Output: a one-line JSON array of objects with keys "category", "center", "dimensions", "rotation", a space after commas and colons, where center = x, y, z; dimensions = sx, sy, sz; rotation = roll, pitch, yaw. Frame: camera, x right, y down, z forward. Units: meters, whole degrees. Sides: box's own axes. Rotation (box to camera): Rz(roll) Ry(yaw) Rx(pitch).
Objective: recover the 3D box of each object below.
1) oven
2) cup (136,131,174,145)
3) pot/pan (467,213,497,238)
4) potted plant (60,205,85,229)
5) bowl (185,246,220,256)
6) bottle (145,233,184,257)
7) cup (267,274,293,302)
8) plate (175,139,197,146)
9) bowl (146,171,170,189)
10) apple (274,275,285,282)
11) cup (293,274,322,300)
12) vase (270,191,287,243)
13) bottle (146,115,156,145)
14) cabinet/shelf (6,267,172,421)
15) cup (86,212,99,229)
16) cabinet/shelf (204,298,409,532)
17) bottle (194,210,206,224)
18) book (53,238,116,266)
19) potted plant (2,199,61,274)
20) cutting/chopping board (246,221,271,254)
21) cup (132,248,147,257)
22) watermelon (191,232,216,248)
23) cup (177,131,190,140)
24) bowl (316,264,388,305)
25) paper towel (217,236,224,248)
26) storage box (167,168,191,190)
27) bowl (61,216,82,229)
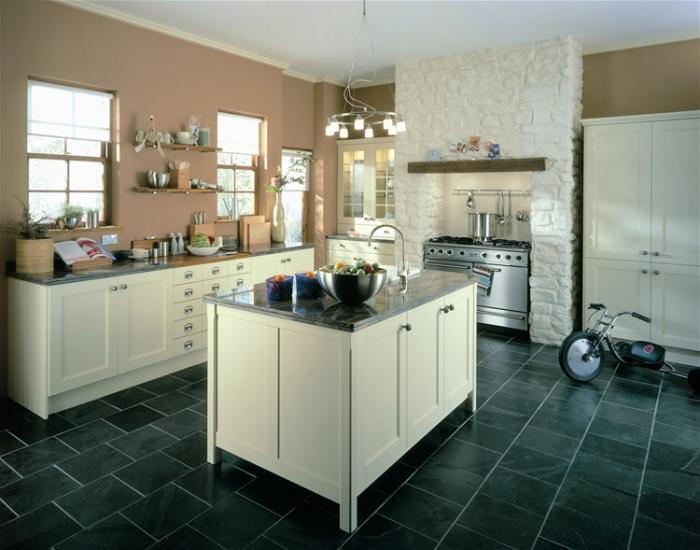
[{"category": "oven", "center": [1.822, 0.113, 6.482], "dimensions": [0.722, 1.125, 1.448], "rotation": [-11, 11, -40]}, {"category": "cup", "center": [-2.057, -1.422, 5.178], "dimensions": [0.274, 0.091, 0.156], "rotation": [-2, 4, -13]}, {"category": "pot/pan", "center": [1.710, -0.623, 6.337], "dimensions": [0.382, 0.308, 0.286], "rotation": [1, 5, 22]}, {"category": "potted plant", "center": [-2.597, -0.534, 4.608], "dimensions": [0.217, 0.223, 0.213], "rotation": [4, 3, 42]}, {"category": "bowl", "center": [-1.611, -0.263, 5.353], "dimensions": [0.335, 0.119, 0.301], "rotation": [-3, 14, -12]}, {"category": "bottle", "center": [-1.950, -0.325, 5.360], "dimensions": [0.286, 0.204, 0.478], "rotation": [10, 17, 34]}, {"category": "cup", "center": [-0.472, 0.086, 3.298], "dimensions": [0.177, 0.142, 0.170], "rotation": [0, 0, 0]}, {"category": "plate", "center": [-1.796, -1.440, 5.403], "dimensions": [0.212, 0.074, 0.151], "rotation": [-8, 16, -29]}, {"category": "bowl", "center": [-2.026, -0.997, 5.231], "dimensions": [0.220, 0.174, 0.170], "rotation": [-8, 16, -30]}, {"category": "apple", "center": [-0.464, 0.023, 3.254], "dimensions": [0.045, 0.028, 0.052], "rotation": [-2, 8, -18]}, {"category": "cup", "center": [-0.291, 0.080, 3.359], "dimensions": [0.192, 0.173, 0.143], "rotation": [0, 0, 33]}, {"category": "vase", "center": [-0.957, -0.756, 6.508], "dimensions": [0.162, 0.644, 0.341], "rotation": [-7, 16, -28]}, {"category": "bottle", "center": [-2.089, -1.524, 5.178], "dimensions": [0.089, 0.281, 0.188], "rotation": [-4, 15, -18]}, {"category": "cabinet/shelf", "center": [-2.316, 0.486, 4.878], "dimensions": [1.017, 1.597, 1.815], "rotation": [2, 4, 33]}, {"category": "cup", "center": [-2.508, -0.535, 4.871], "dimensions": [0.149, 0.159, 0.143], "rotation": [0, 0, 0]}, {"category": "cabinet/shelf", "center": [-0.162, 0.763, 3.624], "dimensions": [1.342, 1.174, 1.324], "rotation": [1, 2, 33]}, {"category": "bottle", "center": [-1.750, -0.670, 5.782], "dimensions": [0.050, 0.145, 0.186], "rotation": [7, 16, 27]}, {"category": "book", "center": [-2.467, -0.212, 4.562], "dimensions": [0.402, 0.202, 0.469], "rotation": [12, 18, 40]}, {"category": "potted plant", "center": [-2.768, -0.334, 4.255], "dimensions": [0.374, 0.576, 0.718], "rotation": [-8, 16, -29]}, {"category": "cutting/chopping board", "center": [-1.182, -0.469, 6.269], "dimensions": [0.148, 0.383, 0.455], "rotation": [0, 1, 27]}, {"category": "cup", "center": [-2.125, -0.225, 4.985], "dimensions": [0.096, 0.049, 0.114], "rotation": [2, -3, -37]}, {"category": "watermelon", "center": [-1.640, -0.380, 5.498], "dimensions": [0.193, 0.126, 0.234], "rotation": [0, 2, -4]}, {"category": "cup", "center": [-1.824, -1.511, 5.413], "dimensions": [0.119, 0.084, 0.107], "rotation": [0, 6, 12]}, {"category": "bowl", "center": [0.021, 0.066, 3.269], "dimensions": [0.482, 0.201, 0.481], "rotation": [1, 7, 0]}, {"category": "paper towel", "center": [-1.588, -0.401, 6.028], "dimensions": [0.077, 0.122, 0.152], "rotation": [-2, 14, -11]}, {"category": "storage box", "center": [-1.851, -1.023, 5.363], "dimensions": [0.215, 0.216, 0.193], "rotation": [-5, 15, -20]}, {"category": "bowl", "center": [-2.588, -0.487, 4.625], "dimensions": [0.137, 0.088, 0.133], "rotation": [-1, 1, 0]}]
